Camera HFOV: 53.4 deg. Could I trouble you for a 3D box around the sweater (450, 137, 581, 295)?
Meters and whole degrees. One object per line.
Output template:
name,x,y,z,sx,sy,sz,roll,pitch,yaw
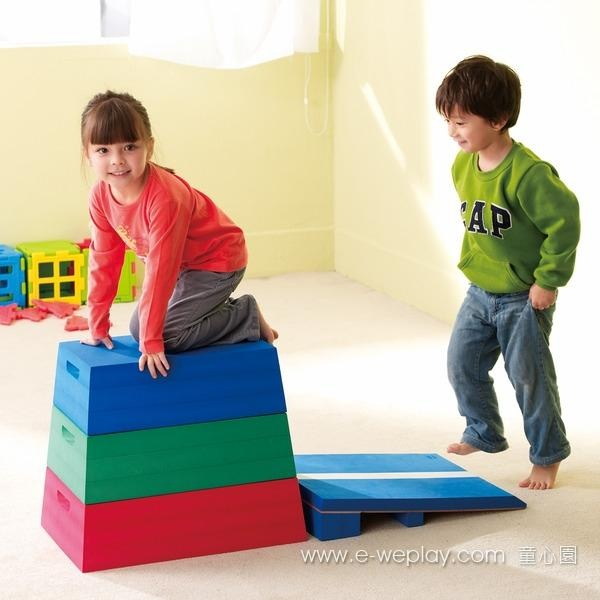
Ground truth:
sweater,0.544,-0.215,1.549,0.218,0.388,0.431,-17,25,-18

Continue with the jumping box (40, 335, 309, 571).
jumping box,-0.336,0.250,1.434,0.574,0.438,0.426,-2,1,-29

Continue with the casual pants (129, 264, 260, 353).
casual pants,-0.284,-0.003,1.537,0.244,0.211,0.366,10,11,30

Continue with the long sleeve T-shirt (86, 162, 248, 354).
long sleeve T-shirt,-0.320,-0.131,1.474,0.366,0.424,0.301,-16,24,-40
